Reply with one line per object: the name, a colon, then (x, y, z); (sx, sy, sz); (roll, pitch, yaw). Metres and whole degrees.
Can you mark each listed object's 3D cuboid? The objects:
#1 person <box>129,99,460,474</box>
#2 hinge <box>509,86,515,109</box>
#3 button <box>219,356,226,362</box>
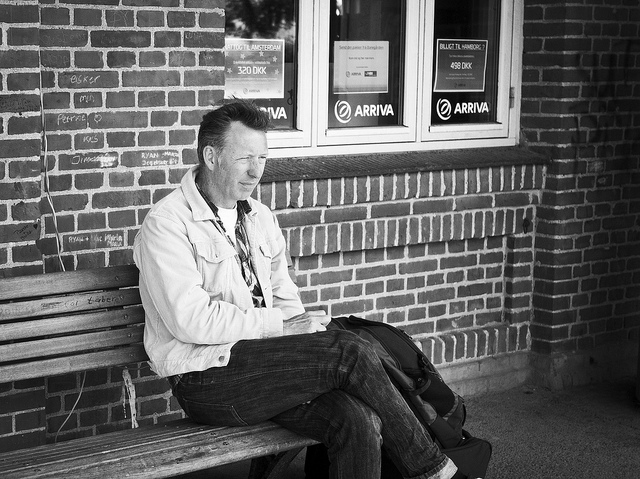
person: (-0.223, 0.165, 2.977); (1.263, 1.618, 0.637); (0, 11, 19)
hinge: (1.541, -1.140, 5.100); (0.039, 0.161, 0.016); (-5, 10, -7)
button: (-0.441, 0.533, 2.876); (0.023, 0.026, 0.006); (1, -4, 10)
